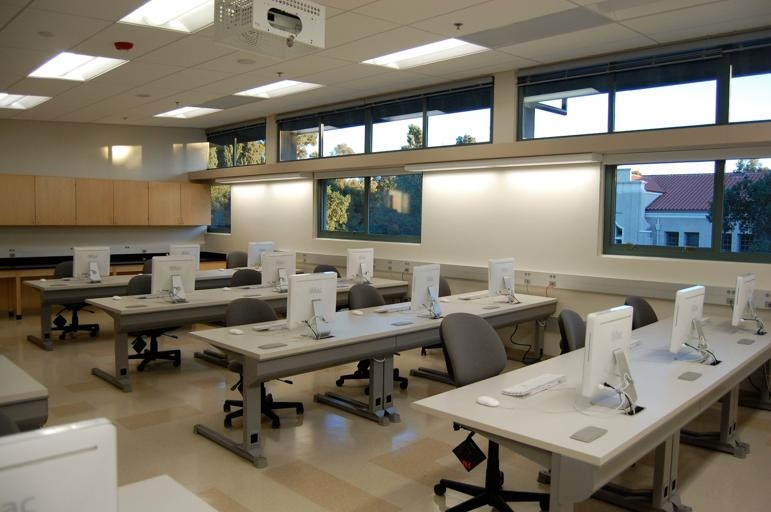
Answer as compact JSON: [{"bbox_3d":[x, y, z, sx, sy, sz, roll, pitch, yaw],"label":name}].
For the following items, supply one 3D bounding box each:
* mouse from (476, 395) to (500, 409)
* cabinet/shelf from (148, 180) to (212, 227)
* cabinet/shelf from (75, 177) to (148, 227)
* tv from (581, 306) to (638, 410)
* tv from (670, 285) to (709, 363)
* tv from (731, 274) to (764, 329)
[{"bbox_3d":[0.770,1.089,3.925,0.126,0.033,0.074,-3,-2,42],"label":"mouse"},{"bbox_3d":[-4.594,-1.184,11.763,0.903,0.978,1.482,2,2,45],"label":"cabinet/shelf"},{"bbox_3d":[-5.713,-1.132,10.845,1.094,0.761,0.407,-1,8,-36],"label":"cabinet/shelf"},{"bbox_3d":[1.686,0.795,3.967,0.735,0.701,0.266,-3,7,-44],"label":"tv"},{"bbox_3d":[2.856,0.657,4.941,0.254,0.632,0.667,4,5,42],"label":"tv"},{"bbox_3d":[3.986,0.512,5.784,0.219,0.514,0.601,2,4,41],"label":"tv"}]
